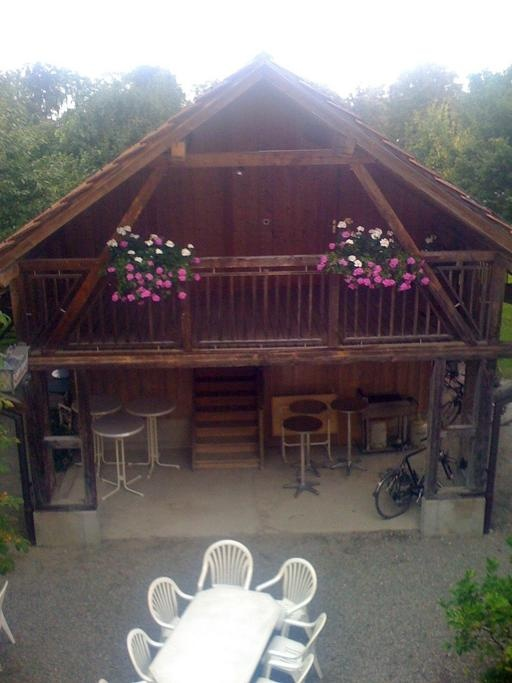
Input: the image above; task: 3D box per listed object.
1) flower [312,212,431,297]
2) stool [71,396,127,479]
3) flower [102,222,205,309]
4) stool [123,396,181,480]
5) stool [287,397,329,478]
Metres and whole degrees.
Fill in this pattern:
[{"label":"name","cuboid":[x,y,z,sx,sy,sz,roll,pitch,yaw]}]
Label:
[{"label":"flower","cuboid":[1.473,-1.065,6.947,0.979,0.648,1.148,-13,38,-35]},{"label":"stool","cuboid":[-2.854,1.661,10.387,0.960,1.480,1.147,1,14,2]},{"label":"flower","cuboid":[-1.384,-0.972,7.234,0.956,1.127,0.608,6,12,-18]},{"label":"stool","cuboid":[-1.920,1.606,10.465,0.963,1.397,1.135,1,19,0]},{"label":"stool","cuboid":[1.069,1.565,10.386,0.886,1.532,1.043,-1,12,0]}]
